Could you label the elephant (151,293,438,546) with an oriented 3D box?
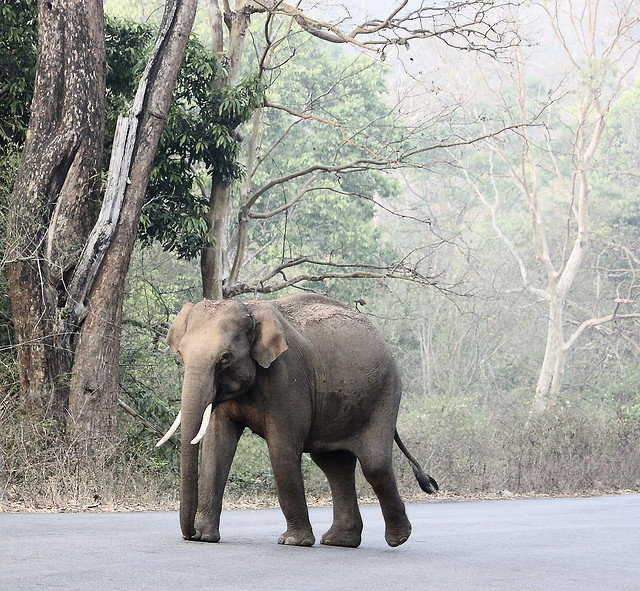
[{"bbox_3d":[-0.181,1.361,13.577,3.106,2.981,1.806,3,3,-24],"label":"elephant"}]
